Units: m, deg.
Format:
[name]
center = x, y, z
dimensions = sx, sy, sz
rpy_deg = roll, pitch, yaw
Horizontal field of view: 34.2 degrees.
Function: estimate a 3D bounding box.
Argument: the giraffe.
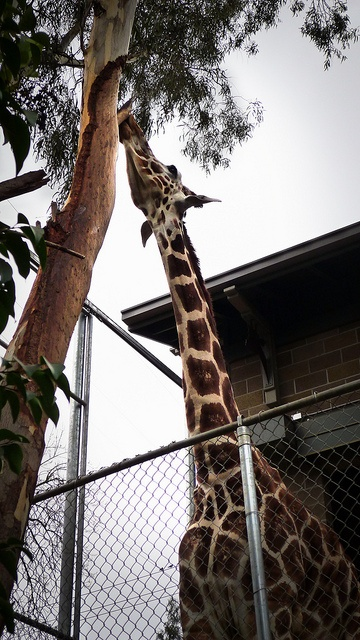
[giraffe]
center = 0.245, -0.052, 4.031
dimensions = 1.497, 4.090, 0.918
rpy_deg = -15, -36, 27
